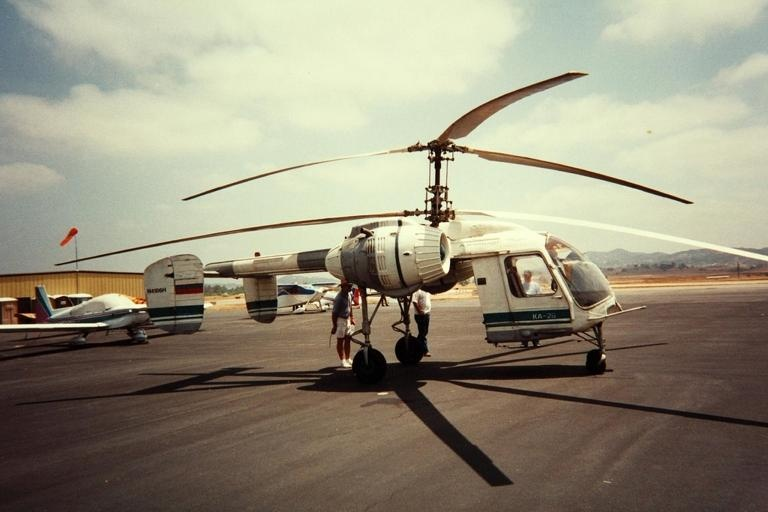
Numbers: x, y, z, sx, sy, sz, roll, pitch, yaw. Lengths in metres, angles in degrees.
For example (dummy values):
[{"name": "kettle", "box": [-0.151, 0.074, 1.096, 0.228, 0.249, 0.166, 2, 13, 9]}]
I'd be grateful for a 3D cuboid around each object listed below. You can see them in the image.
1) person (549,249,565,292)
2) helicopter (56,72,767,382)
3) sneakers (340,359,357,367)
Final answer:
[{"name": "person", "box": [4.019, 0.319, 10.540, 0.318, 0.949, 0.237, -4, -7, 20]}, {"name": "helicopter", "box": [0.618, 0.231, 10.657, 9.016, 2.486, 8.195, -2, 1, 15]}, {"name": "sneakers", "box": [-1.020, 2.931, 12.358, 0.239, 0.237, 0.646, 2, -14, -10]}]
